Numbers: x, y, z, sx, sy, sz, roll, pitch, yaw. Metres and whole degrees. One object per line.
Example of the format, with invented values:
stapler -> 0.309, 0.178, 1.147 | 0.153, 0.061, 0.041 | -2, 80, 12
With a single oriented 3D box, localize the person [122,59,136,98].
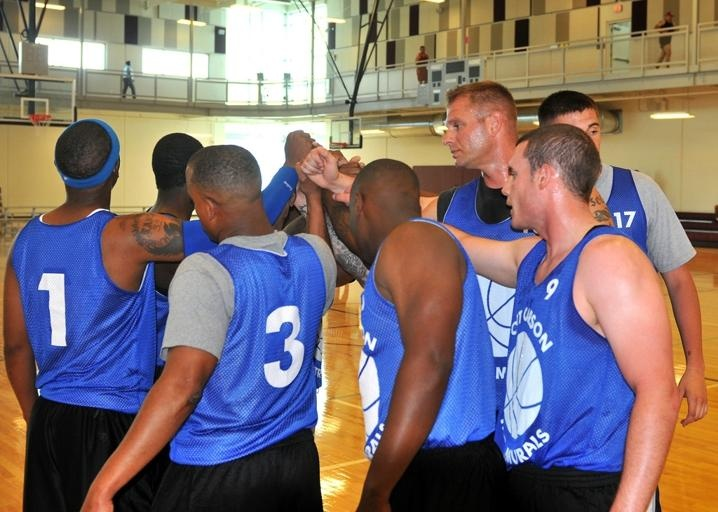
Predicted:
person -> -7.687, -5.906, 21.175 | 0.438, 1.279, 0.905 | -2, 10, -18

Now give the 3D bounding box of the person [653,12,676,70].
person -> 6.750, -4.868, 14.086 | 0.345, 1.357, 1.738 | 5, 11, 24

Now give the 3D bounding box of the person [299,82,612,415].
person -> 0.378, -0.160, 3.640 | 1.443, 2.229, 0.965 | 0, -3, -7
